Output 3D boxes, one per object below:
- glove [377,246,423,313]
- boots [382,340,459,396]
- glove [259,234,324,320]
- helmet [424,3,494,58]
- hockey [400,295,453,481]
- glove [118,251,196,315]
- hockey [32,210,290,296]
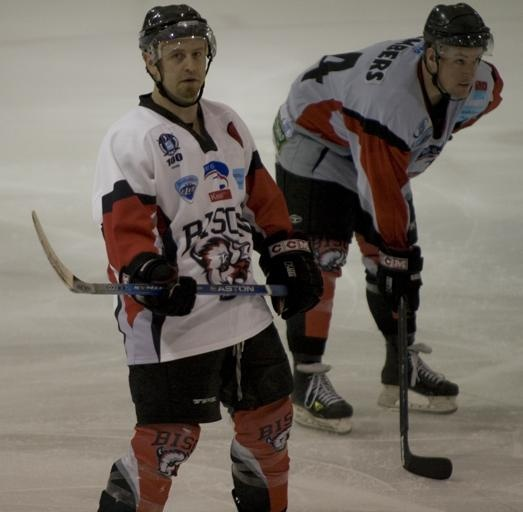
[{"bbox_3d":[0.461,0.087,2.779,0.145,0.248,0.166,0,17,6],"label":"glove"},{"bbox_3d":[0.587,0.426,3.002,0.122,0.204,0.342,-5,2,-39],"label":"boots"},{"bbox_3d":[0.082,0.051,2.224,0.167,0.214,0.098,-22,-16,9],"label":"glove"},{"bbox_3d":[0.574,-0.687,2.499,0.151,0.097,0.192,-10,18,-34],"label":"helmet"},{"bbox_3d":[0.560,0.472,2.846,0.223,0.054,0.727,-2,42,6],"label":"hockey"},{"bbox_3d":[-0.212,0.057,1.884,0.172,0.112,0.086,14,39,37],"label":"glove"},{"bbox_3d":[-0.213,0.013,1.959,0.677,0.161,0.009,3,-3,-38],"label":"hockey"}]
